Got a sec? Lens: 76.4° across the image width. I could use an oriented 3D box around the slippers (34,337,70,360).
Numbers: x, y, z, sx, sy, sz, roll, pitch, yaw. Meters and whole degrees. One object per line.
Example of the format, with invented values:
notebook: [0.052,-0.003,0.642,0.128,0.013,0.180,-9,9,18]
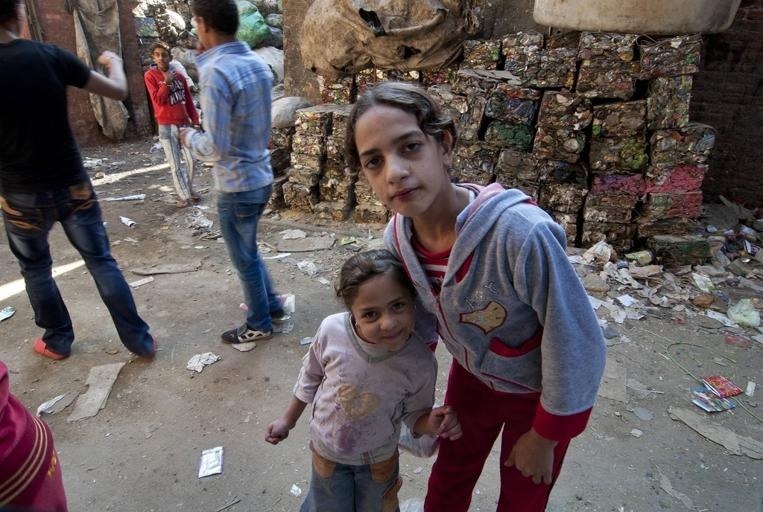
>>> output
slippers: [-2.997,0.866,4.445,0.342,0.105,0.161,19,31,16]
